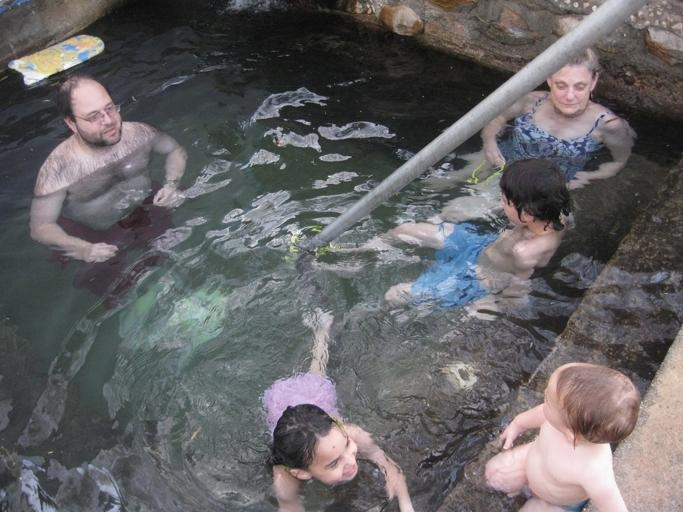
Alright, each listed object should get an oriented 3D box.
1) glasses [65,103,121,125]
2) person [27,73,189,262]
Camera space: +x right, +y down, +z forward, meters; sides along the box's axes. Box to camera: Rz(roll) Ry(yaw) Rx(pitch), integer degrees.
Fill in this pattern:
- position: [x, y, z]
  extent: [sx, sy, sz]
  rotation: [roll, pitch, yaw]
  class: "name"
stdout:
- position: [-2.155, -1.235, 5.314]
  extent: [0.379, 0.135, 0.114]
  rotation: [-31, 53, -18]
  class: "glasses"
- position: [-2.179, -0.759, 5.655]
  extent: [0.983, 1.255, 1.642]
  rotation: [42, 54, 18]
  class: "person"
